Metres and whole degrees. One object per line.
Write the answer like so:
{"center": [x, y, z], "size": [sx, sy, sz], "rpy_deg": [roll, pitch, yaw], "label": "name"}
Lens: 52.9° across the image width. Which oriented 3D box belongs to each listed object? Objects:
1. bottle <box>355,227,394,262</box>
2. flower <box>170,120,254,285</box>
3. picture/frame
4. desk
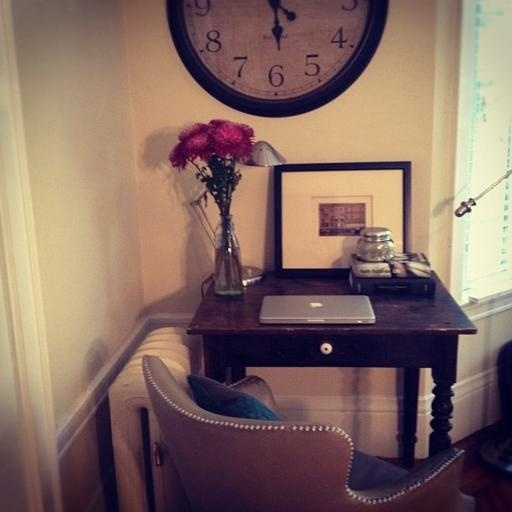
{"center": [0.475, -0.053, 2.051], "size": [0.128, 0.114, 0.133], "rpy_deg": [2, 7, 22], "label": "bottle"}
{"center": [-0.161, -0.168, 1.932], "size": [0.307, 0.656, 0.211], "rpy_deg": [-2, 9, -3], "label": "flower"}
{"center": [0.383, -0.164, 2.173], "size": [0.470, 0.433, 0.034], "rpy_deg": [0, 3, 5], "label": "picture/frame"}
{"center": [0.270, 0.246, 1.970], "size": [0.957, 0.858, 0.667], "rpy_deg": [0, 16, 2], "label": "desk"}
